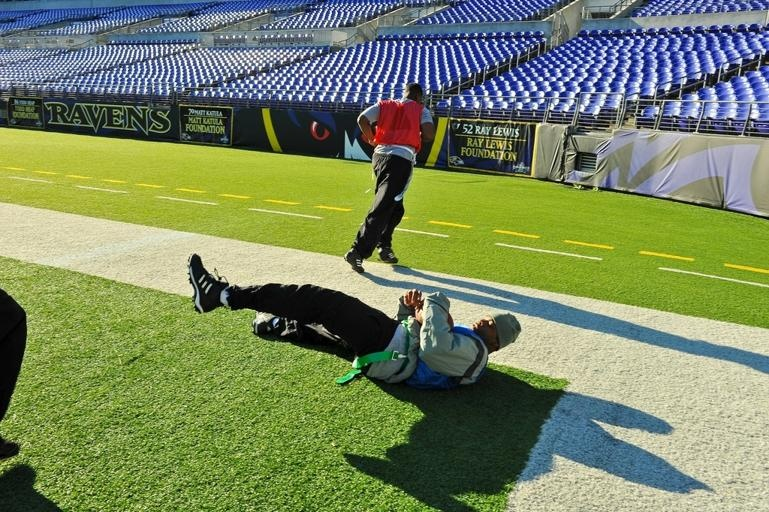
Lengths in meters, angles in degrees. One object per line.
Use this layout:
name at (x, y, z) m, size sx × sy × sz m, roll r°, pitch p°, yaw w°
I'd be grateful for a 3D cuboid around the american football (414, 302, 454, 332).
american football at (0.384, 0.467, 4.507) m, size 0.221 × 0.209 × 0.195 m, roll 4°, pitch -2°, yaw 19°

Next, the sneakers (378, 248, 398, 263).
sneakers at (0.045, -0.004, 7.273) m, size 0.294 × 0.139 × 0.145 m, roll 0°, pitch 13°, yaw -7°

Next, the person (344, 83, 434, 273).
person at (0.082, -0.981, 7.066) m, size 0.866 × 2.185 × 1.423 m, roll 7°, pitch 21°, yaw 8°

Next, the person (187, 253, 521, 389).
person at (-0.318, 0.552, 4.693) m, size 2.718 × 0.705 × 1.088 m, roll 9°, pitch -24°, yaw 9°

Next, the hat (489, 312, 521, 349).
hat at (1.007, 0.572, 4.580) m, size 0.276 × 0.252 × 0.240 m, roll 0°, pitch 14°, yaw 42°
